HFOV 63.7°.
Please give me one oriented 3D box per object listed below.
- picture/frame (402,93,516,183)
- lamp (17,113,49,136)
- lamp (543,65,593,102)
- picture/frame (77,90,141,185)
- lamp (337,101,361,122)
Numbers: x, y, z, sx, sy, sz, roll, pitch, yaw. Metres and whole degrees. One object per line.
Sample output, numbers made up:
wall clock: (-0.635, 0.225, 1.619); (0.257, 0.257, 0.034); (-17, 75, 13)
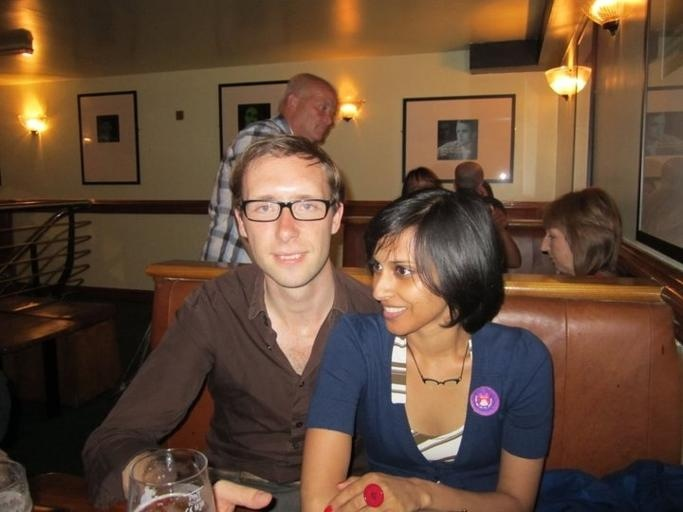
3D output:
picture/frame: (1.496, -1.505, 6.775); (1.383, 1.081, 0.057); (1, 4, 8)
lamp: (-4.575, -1.947, 8.127); (0.496, 0.313, 0.123); (3, 8, 25)
lamp: (2.278, -1.714, 5.446); (0.335, 0.238, 0.342); (-1, 16, 7)
picture/frame: (-3.281, -1.723, 7.776); (1.269, 1.711, 0.117); (1, 7, 9)
lamp: (0.115, -1.880, 7.145); (0.235, 0.185, 0.232); (-1, 2, -2)
